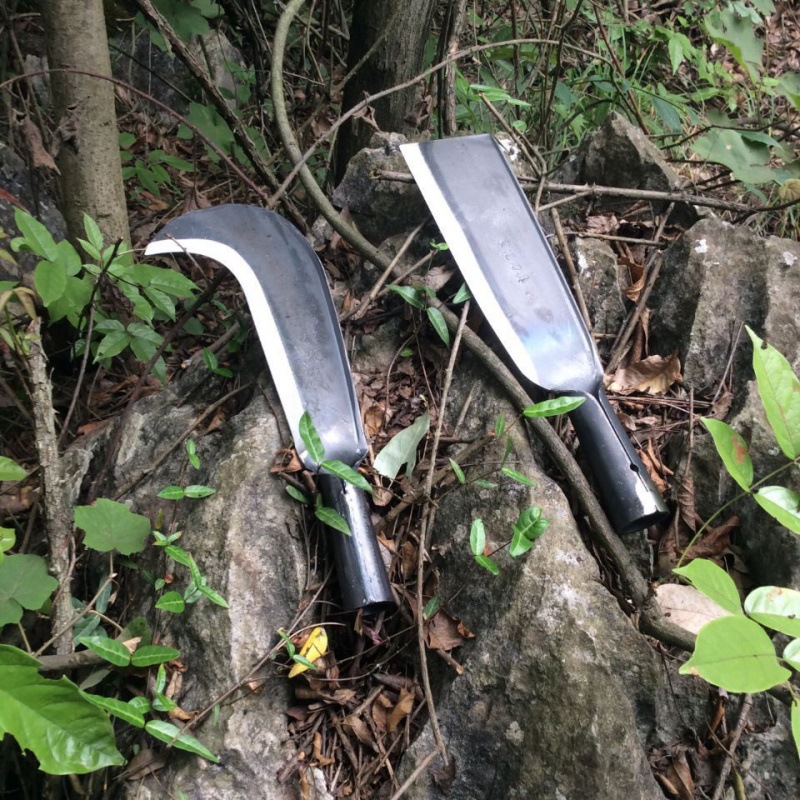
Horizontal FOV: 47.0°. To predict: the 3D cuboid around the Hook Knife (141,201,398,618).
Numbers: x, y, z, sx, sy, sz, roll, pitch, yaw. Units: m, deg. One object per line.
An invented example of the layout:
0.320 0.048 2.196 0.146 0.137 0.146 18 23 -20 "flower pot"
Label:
-0.263 -0.016 1.950 0.429 0.141 0.962 -9 74 -39 "Hook Knife"
